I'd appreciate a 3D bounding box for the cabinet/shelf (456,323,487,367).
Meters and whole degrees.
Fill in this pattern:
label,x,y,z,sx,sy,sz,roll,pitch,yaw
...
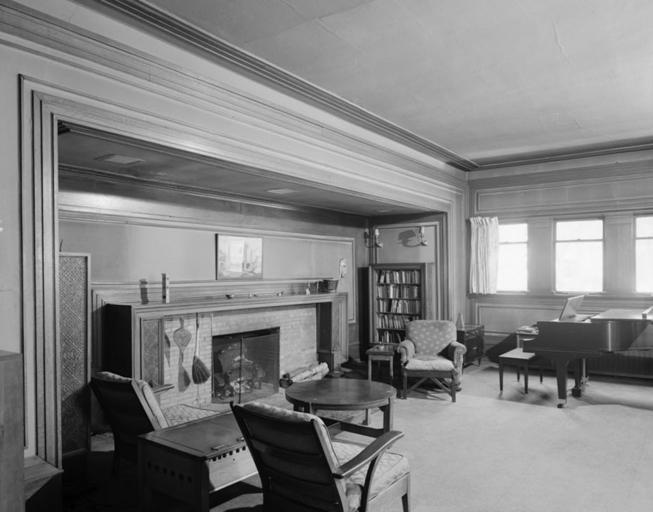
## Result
label,x,y,z,sx,sy,sz,roll,pitch,yaw
cabinet/shelf,2.325,1.410,7.508,0.455,0.715,0.801,-2,-2,31

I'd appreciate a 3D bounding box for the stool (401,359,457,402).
label,x,y,z,sx,sy,sz,roll,pitch,yaw
stool,1.358,1.534,6.166,0.615,0.448,0.605,-4,-8,30

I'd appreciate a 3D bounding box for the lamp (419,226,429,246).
label,x,y,z,sx,sy,sz,roll,pitch,yaw
lamp,1.716,-0.366,8.280,0.164,0.362,0.135,1,2,19

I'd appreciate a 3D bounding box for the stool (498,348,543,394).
label,x,y,z,sx,sy,sz,roll,pitch,yaw
stool,2.774,1.630,6.651,0.381,0.464,0.747,-3,-4,29

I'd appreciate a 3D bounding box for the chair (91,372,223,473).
label,x,y,z,sx,sy,sz,roll,pitch,yaw
chair,-1.453,1.304,3.927,0.704,0.820,0.901,-5,-1,21

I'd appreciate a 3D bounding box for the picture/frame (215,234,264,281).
label,x,y,z,sx,sy,sz,roll,pitch,yaw
picture/frame,-1.218,0.001,6.364,0.024,0.484,0.676,2,1,38
